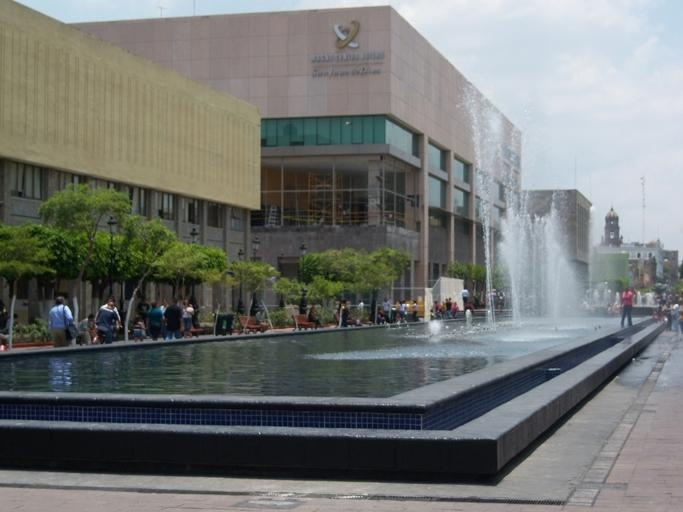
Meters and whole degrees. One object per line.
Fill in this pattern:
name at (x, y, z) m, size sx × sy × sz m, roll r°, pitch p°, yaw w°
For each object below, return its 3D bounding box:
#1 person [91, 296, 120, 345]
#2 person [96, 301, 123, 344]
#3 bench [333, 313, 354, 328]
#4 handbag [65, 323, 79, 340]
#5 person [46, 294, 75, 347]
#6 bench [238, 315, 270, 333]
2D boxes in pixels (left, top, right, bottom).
person at (-7.514, 2.275, 32.015) m, size 0.680 × 1.660 × 0.512 m, roll 10°, pitch 12°, yaw -12°
person at (-7.538, 2.267, 32.019) m, size 0.680 × 1.715 × 0.543 m, roll 11°, pitch 9°, yaw -14°
bench at (0.161, 3.501, 53.477) m, size 0.814 × 1.058 × 0.732 m, roll -3°, pitch -5°, yaw 26°
handbag at (-7.618, 2.140, 28.307) m, size 0.316 × 0.449 × 0.779 m, roll 1°, pitch -7°, yaw -16°
person at (-8.143, 1.889, 29.264) m, size 0.720 × 1.579 × 2.870 m, roll 1°, pitch -6°, yaw -15°
bench at (-3.944, 3.100, 43.267) m, size 0.905 × 0.961 × 1.392 m, roll 2°, pitch -5°, yaw -41°
